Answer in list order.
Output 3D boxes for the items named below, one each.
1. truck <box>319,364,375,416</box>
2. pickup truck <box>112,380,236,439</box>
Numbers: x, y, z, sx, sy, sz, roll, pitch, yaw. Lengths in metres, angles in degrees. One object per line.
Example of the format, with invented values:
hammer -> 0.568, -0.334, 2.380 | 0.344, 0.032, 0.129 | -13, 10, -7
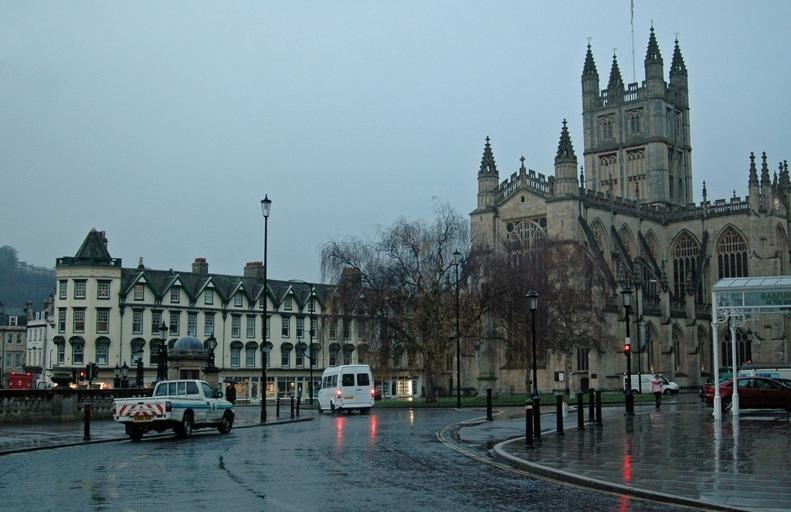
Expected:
truck -> -3.384, 8.893, 81.568 | 2.352, 2.447, 4.360 | 2, -7, -20
pickup truck -> -11.878, 8.171, 65.119 | 6.300, 3.319, 2.153 | 6, -12, -40
